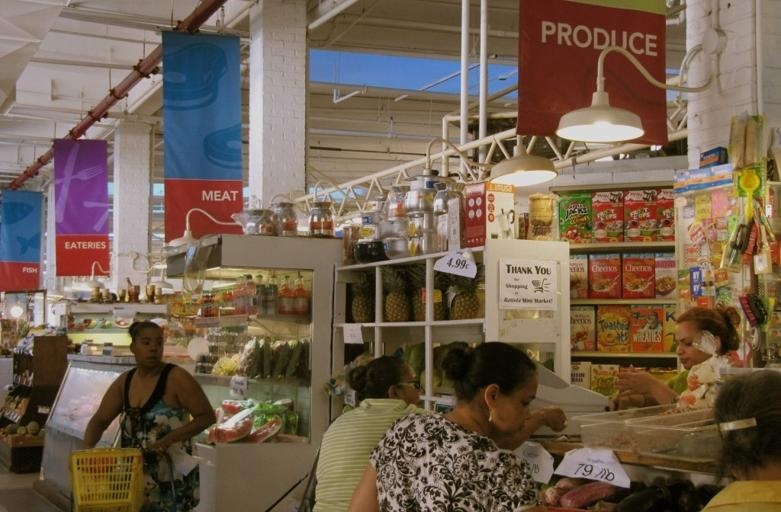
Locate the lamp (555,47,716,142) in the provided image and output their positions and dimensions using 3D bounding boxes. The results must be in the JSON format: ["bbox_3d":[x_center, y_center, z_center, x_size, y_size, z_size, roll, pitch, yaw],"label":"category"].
[{"bbox_3d":[1.840,-1.294,6.980,0.605,0.810,1.284,-6,-8,43],"label":"lamp"}]

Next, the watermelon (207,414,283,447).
[{"bbox_3d":[-1.386,1.647,8.214,0.540,0.210,0.583,-1,0,-25],"label":"watermelon"}]

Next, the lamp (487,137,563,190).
[{"bbox_3d":[1.116,-0.726,7.302,0.499,0.279,0.492,5,-12,-36],"label":"lamp"}]
